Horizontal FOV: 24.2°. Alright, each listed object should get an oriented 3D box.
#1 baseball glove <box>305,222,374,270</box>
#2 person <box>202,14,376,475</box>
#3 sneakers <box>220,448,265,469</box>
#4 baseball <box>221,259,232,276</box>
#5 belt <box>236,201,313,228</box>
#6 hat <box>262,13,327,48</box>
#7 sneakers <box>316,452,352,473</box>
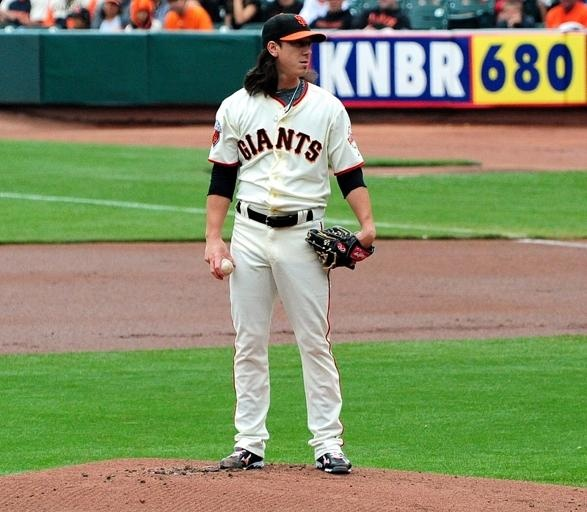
[{"bbox_3d":[0.224,-0.080,7.114,0.368,0.167,0.265,18,7,-5],"label":"baseball glove"},{"bbox_3d":[-0.021,-0.068,7.080,0.875,2.362,0.356,-2,5,-3],"label":"person"},{"bbox_3d":[-0.264,1.048,7.129,0.234,0.101,0.089,4,4,-20],"label":"sneakers"},{"bbox_3d":[-0.338,0.051,7.034,0.052,0.074,0.069,-13,-2,-38],"label":"baseball"},{"bbox_3d":[-0.097,-0.216,7.064,0.402,0.137,0.142,-2,5,-1],"label":"belt"},{"bbox_3d":[-0.007,-1.181,7.093,0.347,0.154,0.251,-3,4,29],"label":"hat"},{"bbox_3d":[0.212,1.069,7.085,0.083,0.079,0.185,1,-5,-30],"label":"sneakers"}]
